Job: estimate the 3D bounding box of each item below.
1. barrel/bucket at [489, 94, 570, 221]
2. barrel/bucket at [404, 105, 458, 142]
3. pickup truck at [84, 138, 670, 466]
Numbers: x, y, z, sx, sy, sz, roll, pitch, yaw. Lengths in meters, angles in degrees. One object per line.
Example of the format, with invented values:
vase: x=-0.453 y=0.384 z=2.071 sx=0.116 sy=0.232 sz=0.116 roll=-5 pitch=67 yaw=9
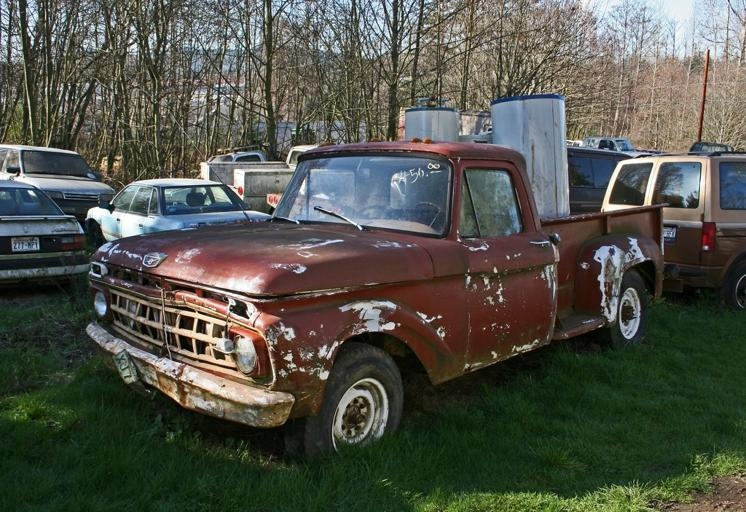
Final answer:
barrel/bucket: x=2.150 y=-1.136 z=8.230 sx=0.947 sy=1.865 sz=0.992 roll=2 pitch=-21 yaw=1
barrel/bucket: x=1.204 y=-2.398 z=11.008 sx=0.801 sy=0.688 sz=0.865 roll=0 pitch=12 yaw=0
pickup truck: x=-0.314 y=0.185 z=5.752 sx=4.294 sy=2.537 sz=1.851 roll=-6 pitch=12 yaw=-27
